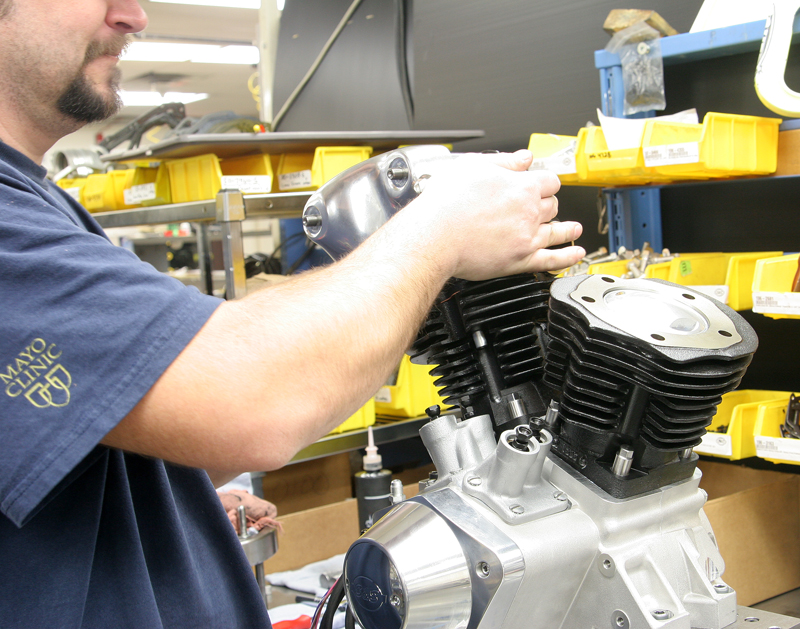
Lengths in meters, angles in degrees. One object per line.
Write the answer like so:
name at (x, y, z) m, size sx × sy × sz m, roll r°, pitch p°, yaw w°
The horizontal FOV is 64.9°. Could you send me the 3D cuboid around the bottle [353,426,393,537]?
bottle at (-0.069, 0.419, 1.447) m, size 0.081 × 0.298 × 0.082 m, roll -1°, pitch -6°, yaw 0°
